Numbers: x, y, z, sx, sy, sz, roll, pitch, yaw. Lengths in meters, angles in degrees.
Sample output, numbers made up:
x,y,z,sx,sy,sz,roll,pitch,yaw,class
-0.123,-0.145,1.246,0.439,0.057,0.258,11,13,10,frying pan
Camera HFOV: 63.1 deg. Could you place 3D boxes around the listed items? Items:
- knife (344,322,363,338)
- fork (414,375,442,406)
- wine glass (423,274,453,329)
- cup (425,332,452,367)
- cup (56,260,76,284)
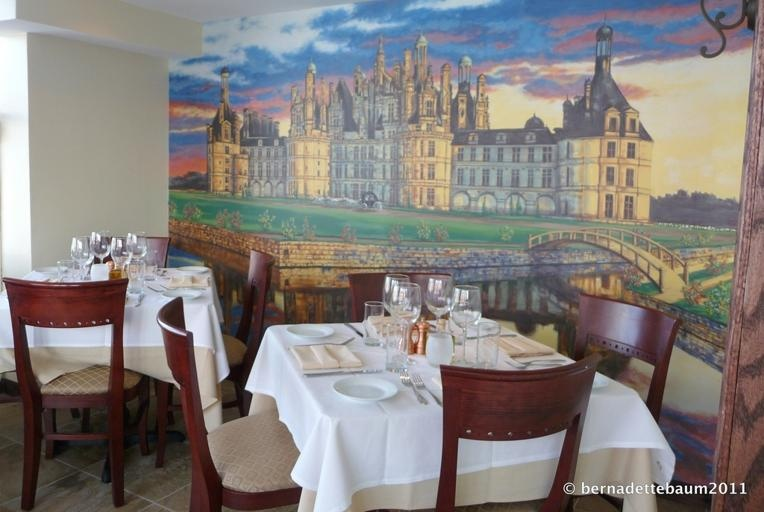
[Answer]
x,y,z,sx,sy,sz,roll,pitch,yaw,class
-0.165,0.439,3.701,0.045,0.011,0.179,-4,20,-31,knife
0.213,0.652,3.066,0.047,0.047,0.314,-9,11,-14,fork
0.315,0.274,3.369,0.139,0.355,0.141,-2,19,-5,wine glass
0.285,0.488,3.235,0.136,0.150,0.147,0,-2,0,cup
-2.157,0.118,4.256,0.113,0.207,0.116,1,6,0,cup
